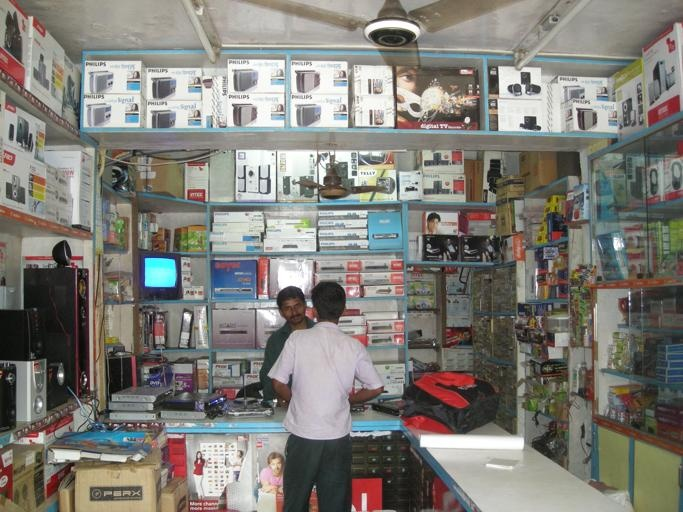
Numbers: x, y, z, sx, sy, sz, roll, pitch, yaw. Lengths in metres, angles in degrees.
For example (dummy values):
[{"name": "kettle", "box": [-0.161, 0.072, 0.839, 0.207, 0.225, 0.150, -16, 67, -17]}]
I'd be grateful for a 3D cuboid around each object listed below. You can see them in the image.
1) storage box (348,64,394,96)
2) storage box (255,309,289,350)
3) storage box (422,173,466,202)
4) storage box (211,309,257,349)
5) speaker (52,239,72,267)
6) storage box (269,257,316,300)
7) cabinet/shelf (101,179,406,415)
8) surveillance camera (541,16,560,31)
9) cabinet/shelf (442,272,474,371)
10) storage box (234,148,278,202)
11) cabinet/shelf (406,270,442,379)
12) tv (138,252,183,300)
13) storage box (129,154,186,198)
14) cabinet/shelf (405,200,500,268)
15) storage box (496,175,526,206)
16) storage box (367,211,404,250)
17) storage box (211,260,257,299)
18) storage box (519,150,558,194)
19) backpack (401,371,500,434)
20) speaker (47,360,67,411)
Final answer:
[{"name": "storage box", "box": [0.245, -1.312, 4.697, 0.370, 0.265, 0.211, 0, -5, -2]}, {"name": "storage box", "box": [-0.849, 0.744, 6.431, 0.508, 0.387, 0.510, 2, -8, -16]}, {"name": "storage box", "box": [1.108, -0.747, 6.744, 0.520, 0.344, 0.288, 1, 3, 1]}, {"name": "storage box", "box": [-1.017, 0.752, 6.483, 0.649, 0.408, 0.635, 0, -4, -13]}, {"name": "speaker", "box": [-1.890, -0.011, 4.231, 0.085, 0.162, 0.143, -10, -13, -1]}, {"name": "storage box", "box": [-0.539, 0.246, 6.441, 0.476, 0.421, 0.257, 1, -14, -14]}, {"name": "cabinet/shelf", "box": [-0.803, 0.337, 5.612, 2.062, 2.066, 0.622, -1, 3, 1]}, {"name": "surveillance camera", "box": [1.428, -1.599, 4.288, 0.040, 0.079, 0.166, -2, -5, -13]}, {"name": "cabinet/shelf", "box": [1.559, 0.866, 8.546, 0.477, 1.398, 0.415, -4, -5, 8]}, {"name": "storage box", "box": [-0.863, -0.801, 6.227, 0.491, 0.610, 0.230, 0, -2, 0]}, {"name": "cabinet/shelf", "box": [1.092, 0.627, 8.347, 0.403, 0.979, 0.242, -3, 1, 4]}, {"name": "tv", "box": [-1.788, 0.195, 6.114, 0.416, 0.384, 0.221, 4, -15, -36]}, {"name": "storage box", "box": [-1.787, -0.768, 6.108, 0.666, 0.494, 0.368, 1, -5, -21]}, {"name": "cabinet/shelf", "box": [1.242, -0.163, 7.113, 1.014, 0.670, 0.547, 2, -14, 2]}, {"name": "storage box", "box": [1.811, -0.701, 6.744, 0.234, 0.297, 0.414, 2, -4, -9]}, {"name": "storage box", "box": [0.446, -0.258, 6.328, 0.348, 0.362, 0.368, 0, 4, 3]}, {"name": "storage box", "box": [-1.083, 0.231, 6.445, 0.481, 0.399, 0.266, -1, 0, 1]}, {"name": "storage box", "box": [2.035, -0.913, 6.546, 0.241, 0.402, 0.440, -6, 1, -17]}, {"name": "backpack", "box": [0.717, 0.972, 4.223, 0.625, 0.319, 0.661, -1, 4, 13]}, {"name": "speaker", "box": [-1.815, 0.828, 4.002, 0.060, 0.288, 0.227, -4, -5, 10]}]
